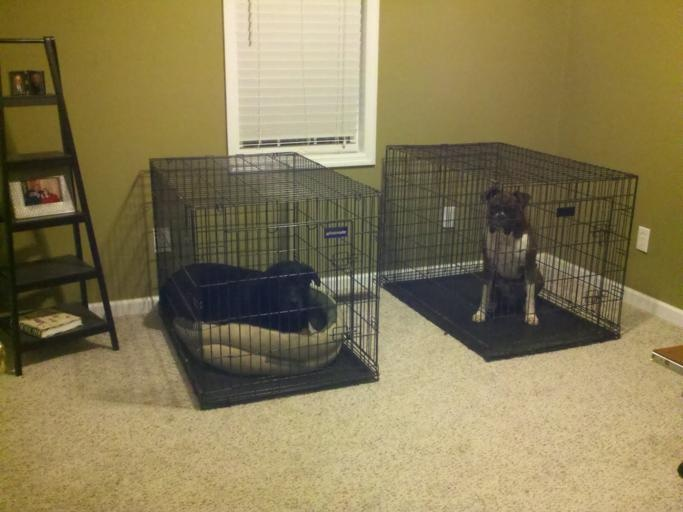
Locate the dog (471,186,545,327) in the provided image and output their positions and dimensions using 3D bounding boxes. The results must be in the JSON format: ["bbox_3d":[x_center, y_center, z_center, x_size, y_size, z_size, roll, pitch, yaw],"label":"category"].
[{"bbox_3d":[1.056,-0.009,3.525,0.427,0.915,0.290,3,16,19],"label":"dog"}]

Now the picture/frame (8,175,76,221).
[{"bbox_3d":[-1.598,-0.310,2.962,0.336,0.257,0.027,-17,0,-38],"label":"picture/frame"}]

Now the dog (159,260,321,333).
[{"bbox_3d":[-0.484,0.214,3.169,0.972,0.457,0.342,4,23,-9],"label":"dog"}]
